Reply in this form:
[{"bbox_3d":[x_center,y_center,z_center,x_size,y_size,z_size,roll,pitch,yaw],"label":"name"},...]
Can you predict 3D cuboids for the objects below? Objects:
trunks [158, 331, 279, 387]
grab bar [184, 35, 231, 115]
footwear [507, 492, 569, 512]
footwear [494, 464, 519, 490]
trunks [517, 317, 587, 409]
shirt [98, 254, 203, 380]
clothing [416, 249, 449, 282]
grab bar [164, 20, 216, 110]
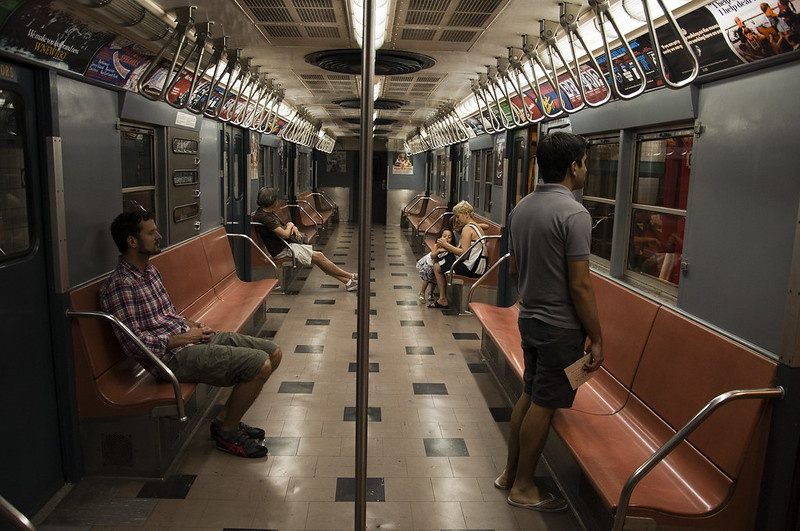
[{"bbox_3d":[-1.457,0.744,3.593,0.650,0.264,0.437,-8,9,-12],"label":"trunks"},{"bbox_3d":[-1.769,-1.857,4.186,0.176,0.798,0.087,15,2,34],"label":"grab bar"},{"bbox_3d":[1.000,1.697,3.097,0.293,0.072,0.159,-2,-5,21],"label":"footwear"},{"bbox_3d":[0.800,1.627,3.320,0.251,0.177,0.092,4,-2,-6],"label":"footwear"},{"bbox_3d":[1.029,0.613,3.032,0.355,0.644,0.458,1,6,-12],"label":"trunks"},{"bbox_3d":[-2.063,0.433,3.540,0.543,0.948,0.729,-13,15,-1],"label":"shirt"},{"bbox_3d":[0.614,-0.002,7.952,0.285,0.418,0.630,33,-42,-17],"label":"clothing"},{"bbox_3d":[-1.750,-1.813,3.760,0.212,1.000,0.121,16,-11,12],"label":"grab bar"}]
